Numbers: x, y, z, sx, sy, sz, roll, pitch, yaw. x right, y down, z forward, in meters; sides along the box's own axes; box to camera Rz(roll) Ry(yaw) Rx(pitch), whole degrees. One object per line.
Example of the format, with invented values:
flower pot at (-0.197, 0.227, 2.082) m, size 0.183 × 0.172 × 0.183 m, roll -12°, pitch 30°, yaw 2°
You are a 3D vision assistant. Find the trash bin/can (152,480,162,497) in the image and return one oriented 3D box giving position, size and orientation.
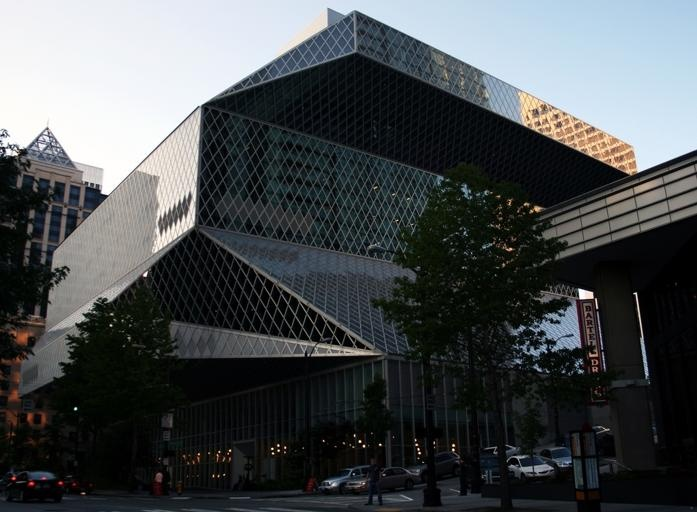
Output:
trash bin/can at (-13.521, 16.550, 50.124) m, size 0.674 × 0.974 × 1.537 m, roll 3°, pitch -21°, yaw -15°
